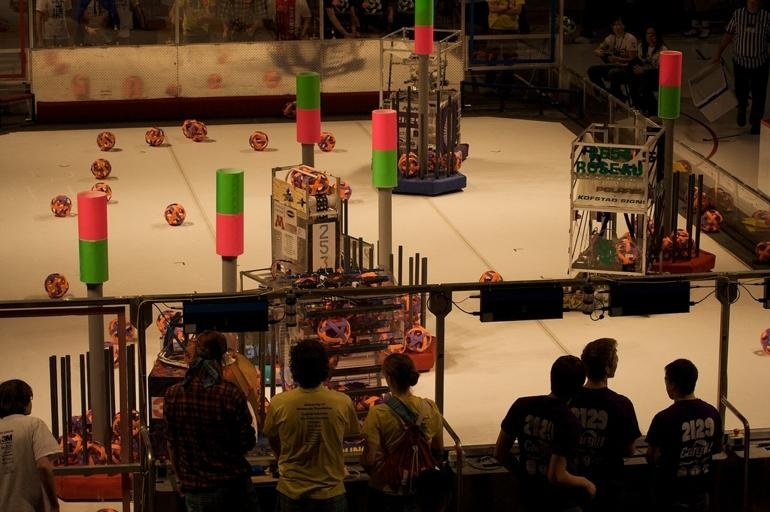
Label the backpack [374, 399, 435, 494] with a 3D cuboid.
[{"bbox_3d":[0.166,1.497,7.343,0.488,0.655,0.376,-25,33,-29],"label":"backpack"}]

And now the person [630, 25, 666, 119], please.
[{"bbox_3d":[5.192,-3.959,20.025,0.667,1.941,0.988,-2,1,4],"label":"person"}]
